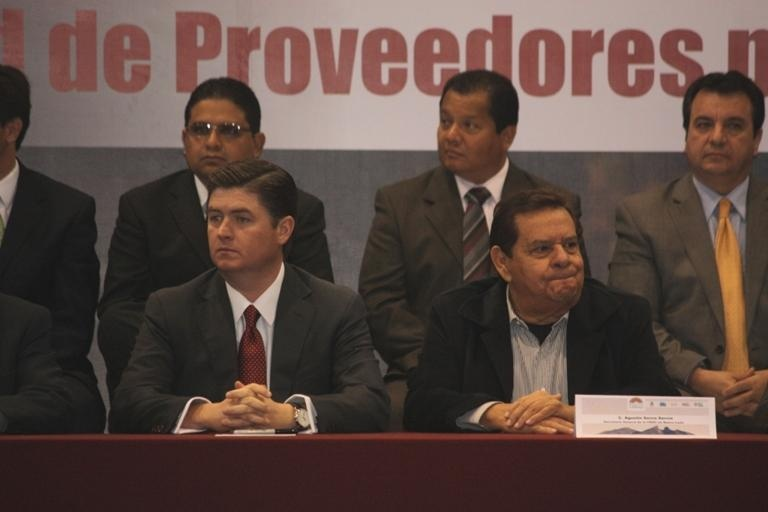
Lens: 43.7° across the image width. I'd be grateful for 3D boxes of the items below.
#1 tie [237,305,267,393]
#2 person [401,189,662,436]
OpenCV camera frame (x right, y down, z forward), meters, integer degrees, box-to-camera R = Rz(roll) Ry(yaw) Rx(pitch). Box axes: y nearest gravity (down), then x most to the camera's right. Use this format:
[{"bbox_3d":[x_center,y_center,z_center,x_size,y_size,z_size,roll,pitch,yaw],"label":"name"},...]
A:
[{"bbox_3d":[-0.695,0.468,4.973,0.148,0.563,0.059,7,42,-1],"label":"tie"},{"bbox_3d":[0.778,0.275,4.961,1.355,1.242,0.565,-1,-1,-2],"label":"person"}]
